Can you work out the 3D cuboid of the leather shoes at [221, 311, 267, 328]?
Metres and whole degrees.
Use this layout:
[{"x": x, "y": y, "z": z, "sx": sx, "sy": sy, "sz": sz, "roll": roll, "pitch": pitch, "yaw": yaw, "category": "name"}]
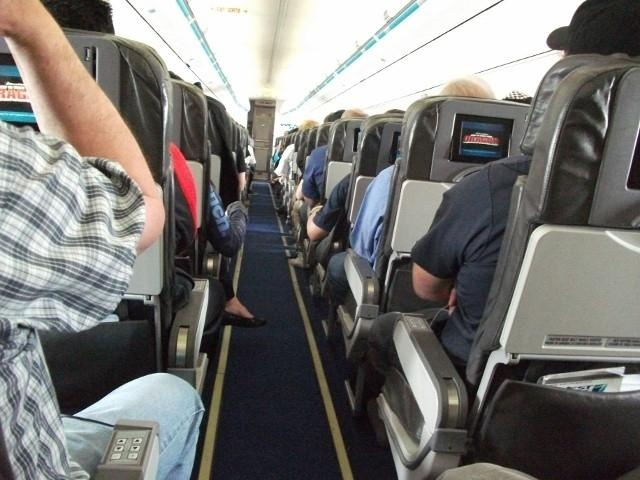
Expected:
[{"x": -0.600, "y": 0.636, "z": 3.696, "sx": 0.392, "sy": 0.173, "sz": 0.134, "roll": 0, "pitch": 3, "yaw": -18, "category": "leather shoes"}]
